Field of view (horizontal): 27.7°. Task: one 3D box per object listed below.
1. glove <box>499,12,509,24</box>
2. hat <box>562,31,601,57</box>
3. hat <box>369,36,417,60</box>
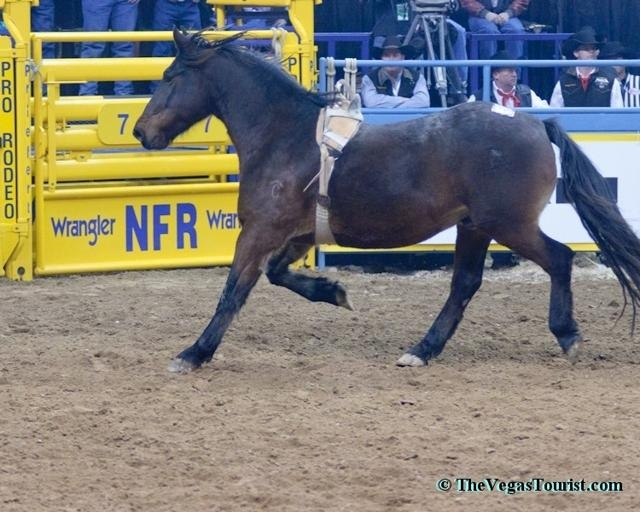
[{"bbox_3d":[2.133,-2.741,15.017,0.118,0.128,0.055,0,-20,1],"label":"glove"},{"bbox_3d":[2.862,-2.384,14.433,0.349,0.131,0.384,-2,-6,-19],"label":"hat"},{"bbox_3d":[0.814,-2.201,13.748,0.434,0.131,0.335,1,-2,-3],"label":"hat"}]
